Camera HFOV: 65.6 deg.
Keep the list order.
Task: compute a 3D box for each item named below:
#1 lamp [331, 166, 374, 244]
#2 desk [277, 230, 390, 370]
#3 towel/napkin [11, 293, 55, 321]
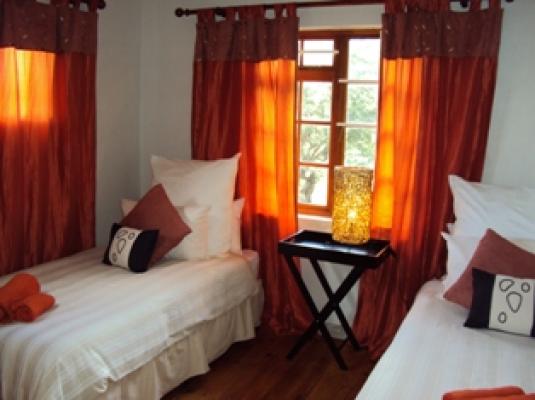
[{"bbox_3d":[0.596,0.045,2.936,0.269,0.549,0.186,3,14,13],"label":"lamp"},{"bbox_3d":[0.436,0.766,3.072,0.718,0.814,0.561,4,0,41],"label":"desk"},{"bbox_3d":[-1.242,0.566,2.202,0.113,0.058,0.148,10,13,20],"label":"towel/napkin"}]
